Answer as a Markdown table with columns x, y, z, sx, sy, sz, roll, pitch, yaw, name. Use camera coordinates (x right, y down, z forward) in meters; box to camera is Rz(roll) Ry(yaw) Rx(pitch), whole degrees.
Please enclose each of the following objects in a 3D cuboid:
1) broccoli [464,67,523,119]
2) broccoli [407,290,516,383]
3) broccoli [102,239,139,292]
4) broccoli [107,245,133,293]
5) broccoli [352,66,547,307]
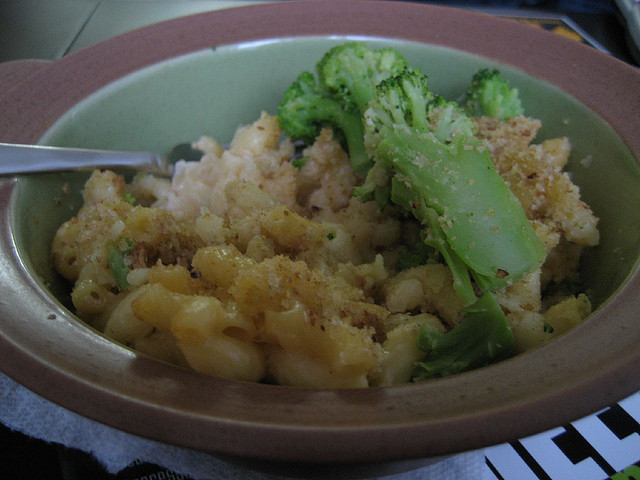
| x | y | z | sx | sy | sz | roll | pitch | yaw | name |
| --- | --- | --- | --- | --- | --- | --- | --- | --- | --- |
| 0.353 | -0.291 | 1.332 | 0.115 | 0.133 | 0.050 | -30 | 58 | 9 | broccoli |
| 0.233 | 0.161 | 1.098 | 0.183 | 0.060 | 0.123 | -31 | 94 | 6 | broccoli |
| -0.354 | 0.047 | 1.094 | 0.040 | 0.029 | 0.112 | -33 | 74 | -6 | broccoli |
| -0.348 | 0.051 | 1.098 | 0.039 | 0.095 | 0.017 | -4 | 104 | -11 | broccoli |
| 0.206 | -0.076 | 1.217 | 0.293 | 0.176 | 0.442 | -26 | 57 | -29 | broccoli |
